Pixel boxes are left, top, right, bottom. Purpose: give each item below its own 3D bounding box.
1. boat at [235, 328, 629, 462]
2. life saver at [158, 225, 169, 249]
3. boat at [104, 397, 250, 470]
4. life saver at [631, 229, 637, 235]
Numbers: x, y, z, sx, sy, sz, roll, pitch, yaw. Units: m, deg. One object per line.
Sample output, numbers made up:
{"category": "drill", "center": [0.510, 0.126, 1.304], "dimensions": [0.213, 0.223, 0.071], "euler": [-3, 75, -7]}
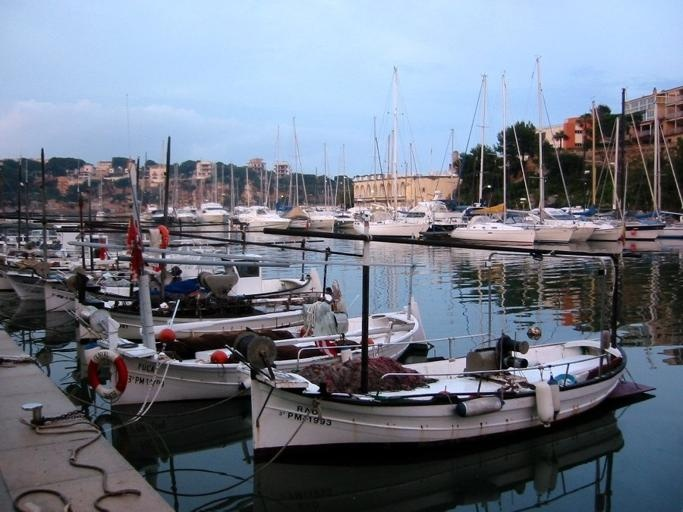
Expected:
{"category": "boat", "center": [1.936, 3.641, 16.950], "dimensions": [6.614, 2.831, 6.046], "euler": [-6, 1, -3]}
{"category": "life saver", "center": [-5.146, -0.664, 23.599], "dimensions": [0.236, 0.772, 0.514], "euler": [6, -14, -33]}
{"category": "boat", "center": [-3.491, 3.834, 17.882], "dimensions": [3.019, 0.951, 1.560], "euler": [-3, 2, -27]}
{"category": "life saver", "center": [18.904, -1.609, 52.132], "dimensions": [0.353, 0.351, 0.208], "euler": [3, 8, 41]}
